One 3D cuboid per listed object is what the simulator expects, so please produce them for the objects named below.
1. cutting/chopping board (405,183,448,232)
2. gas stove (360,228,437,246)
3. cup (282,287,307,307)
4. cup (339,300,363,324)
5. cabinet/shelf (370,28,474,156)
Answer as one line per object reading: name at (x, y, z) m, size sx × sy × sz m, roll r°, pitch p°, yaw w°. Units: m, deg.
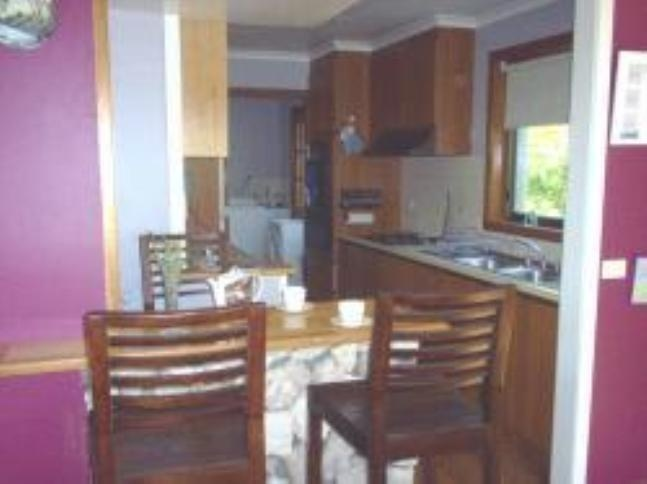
cutting/chopping board at (0.626, -0.188, 3.250) m, size 0.304 × 0.290 × 0.214 m, roll 2°, pitch 7°, yaw 30°
gas stove at (0.459, -0.032, 3.260) m, size 0.293 × 0.073 × 0.401 m, roll -5°, pitch 7°, yaw -39°
cup at (-0.088, 0.174, 1.700) m, size 0.066 × 0.056 × 0.063 m, roll 0°, pitch 7°, yaw 0°
cup at (0.084, 0.209, 1.611) m, size 0.058 × 0.045 × 0.059 m, roll 0°, pitch 7°, yaw 0°
cabinet/shelf at (0.556, -0.830, 2.931) m, size 0.284 × 0.582 × 0.605 m, roll -3°, pitch 11°, yaw -21°
